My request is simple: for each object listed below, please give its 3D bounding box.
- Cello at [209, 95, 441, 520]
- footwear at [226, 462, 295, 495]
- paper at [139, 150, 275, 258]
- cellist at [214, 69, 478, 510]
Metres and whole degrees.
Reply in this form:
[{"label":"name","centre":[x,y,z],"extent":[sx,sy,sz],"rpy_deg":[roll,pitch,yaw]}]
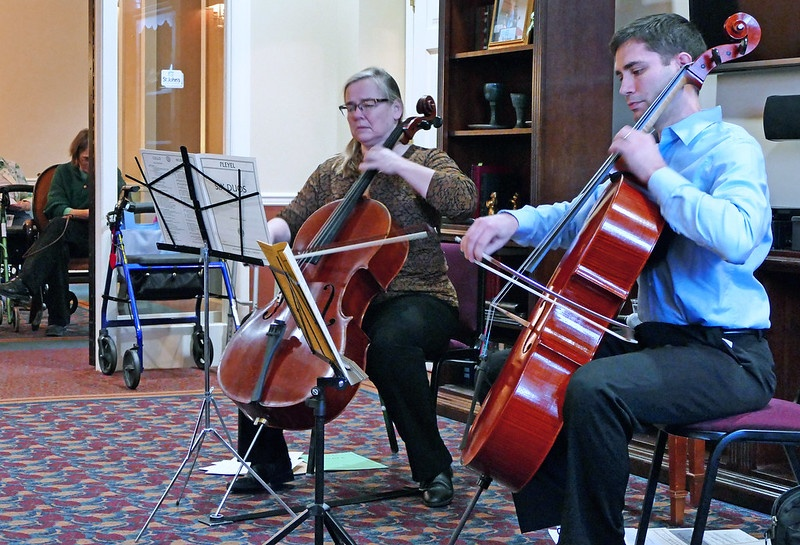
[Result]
[{"label":"Cello","centre":[-0.133,0.014,3.066],"extent":[0.530,0.457,1.437],"rpy_deg":[19,58,42]},{"label":"footwear","centre":[-0.553,0.811,3.285],"extent":[0.263,0.120,0.096],"rpy_deg":[2,-3,-19]},{"label":"paper","centre":[-0.717,-0.240,3.056],"extent":[0.523,0.413,0.063],"rpy_deg":[10,28,20]},{"label":"cellist","centre":[-0.199,0.029,3.317],"extent":[0.986,1.715,0.818],"rpy_deg":[-2,-2,8]}]
